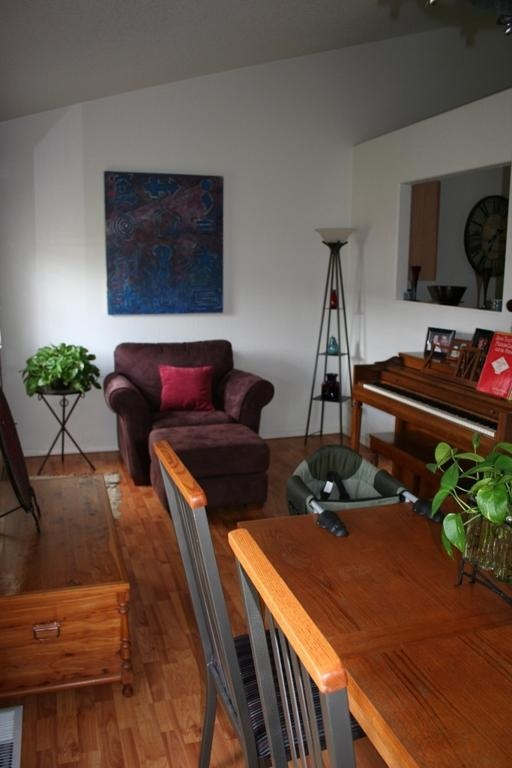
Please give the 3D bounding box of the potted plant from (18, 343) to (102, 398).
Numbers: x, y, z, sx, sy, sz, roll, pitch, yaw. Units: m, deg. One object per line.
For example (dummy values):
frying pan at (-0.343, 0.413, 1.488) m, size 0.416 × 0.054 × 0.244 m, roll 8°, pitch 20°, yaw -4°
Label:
potted plant at (-1.446, -0.091, 4.130) m, size 0.444 × 0.281 × 0.501 m, roll 11°, pitch -3°, yaw -24°

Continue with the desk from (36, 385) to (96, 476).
desk at (-1.659, 0.391, 4.530) m, size 0.494 × 0.645 × 0.500 m, roll -3°, pitch 7°, yaw 9°

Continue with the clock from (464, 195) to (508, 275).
clock at (2.369, -1.516, 5.483) m, size 0.439 × 0.843 × 0.250 m, roll -5°, pitch 5°, yaw 15°

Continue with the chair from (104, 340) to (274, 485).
chair at (-0.522, 0.099, 4.331) m, size 1.724 × 1.380 × 0.989 m, roll -3°, pitch 4°, yaw -20°

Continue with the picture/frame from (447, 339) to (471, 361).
picture/frame at (1.304, -0.208, 3.404) m, size 0.135 × 0.129 × 0.287 m, roll -6°, pitch 4°, yaw 13°

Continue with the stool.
stool at (-0.309, 0.401, 3.665) m, size 0.712 × 0.540 × 0.704 m, roll -3°, pitch 16°, yaw -16°

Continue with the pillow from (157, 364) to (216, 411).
pillow at (-0.577, 0.039, 4.232) m, size 0.346 × 0.324 × 0.120 m, roll 0°, pitch -19°, yaw -13°

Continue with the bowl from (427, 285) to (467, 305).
bowl at (1.352, -0.626, 3.809) m, size 0.223 × 0.175 × 0.308 m, roll -5°, pitch 5°, yaw 17°

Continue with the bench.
bench at (0.763, 0.401, 2.486) m, size 0.275 × 0.433 × 0.511 m, roll 0°, pitch 9°, yaw -15°
